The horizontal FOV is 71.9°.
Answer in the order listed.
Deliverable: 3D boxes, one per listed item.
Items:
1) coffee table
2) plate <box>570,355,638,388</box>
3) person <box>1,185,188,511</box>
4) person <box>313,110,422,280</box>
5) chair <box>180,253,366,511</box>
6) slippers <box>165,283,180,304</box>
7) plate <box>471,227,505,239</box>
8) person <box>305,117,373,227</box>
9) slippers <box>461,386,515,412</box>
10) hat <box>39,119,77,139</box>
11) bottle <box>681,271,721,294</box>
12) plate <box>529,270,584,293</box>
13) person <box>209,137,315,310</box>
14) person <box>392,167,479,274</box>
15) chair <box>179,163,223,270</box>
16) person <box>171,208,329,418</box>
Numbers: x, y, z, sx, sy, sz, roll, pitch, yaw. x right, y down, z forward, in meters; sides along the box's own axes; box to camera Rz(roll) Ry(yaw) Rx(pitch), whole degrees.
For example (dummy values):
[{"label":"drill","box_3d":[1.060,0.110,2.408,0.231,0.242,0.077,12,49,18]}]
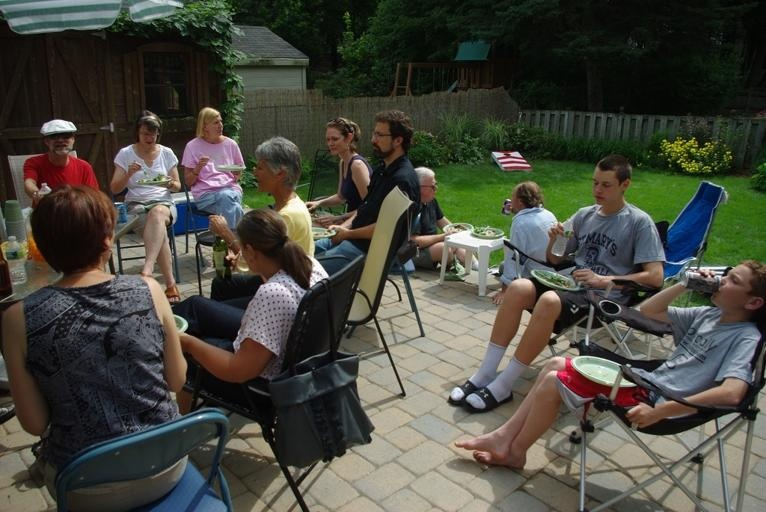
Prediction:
[{"label":"coffee table","box_3d":[1.030,-0.029,6.193,0.745,0.716,0.756,13,22,34]},{"label":"plate","box_3d":[1.349,0.710,3.277,0.202,0.029,0.196,-7,21,-29]},{"label":"person","box_3d":[-1.278,0.441,2.330,0.624,1.439,0.567,4,15,10]},{"label":"person","box_3d":[-0.280,-0.516,5.194,1.240,1.768,0.811,7,20,4]},{"label":"chair","box_3d":[-0.547,0.621,3.769,1.404,1.810,1.201,5,10,25]},{"label":"slippers","box_3d":[-1.985,0.357,4.960,0.150,0.149,0.407,-2,4,-28]},{"label":"plate","box_3d":[1.197,-0.250,6.063,0.221,0.069,0.224,5,12,28]},{"label":"person","box_3d":[-0.530,-0.911,5.922,0.877,1.187,0.817,1,22,5]},{"label":"slippers","box_3d":[0.816,1.104,4.050,0.344,0.103,0.155,-4,27,-14]},{"label":"hat","box_3d":[-3.226,-1.222,5.180,0.341,0.119,0.403,-9,7,-40]},{"label":"bottle","box_3d":[1.914,0.163,3.175,0.197,0.136,0.127,6,15,18]},{"label":"plate","box_3d":[1.368,0.197,4.178,0.231,0.042,0.226,10,19,-5]},{"label":"person","box_3d":[-1.018,0.029,4.310,0.979,1.844,0.664,1,15,-10]},{"label":"person","box_3d":[0.627,-0.527,6.514,1.213,1.529,0.956,2,27,9]},{"label":"chair","box_3d":[-2.126,-0.421,6.376,0.565,0.843,0.492,20,16,37]},{"label":"person","box_3d":[-0.873,0.412,3.122,0.892,1.360,0.660,13,19,40]}]
